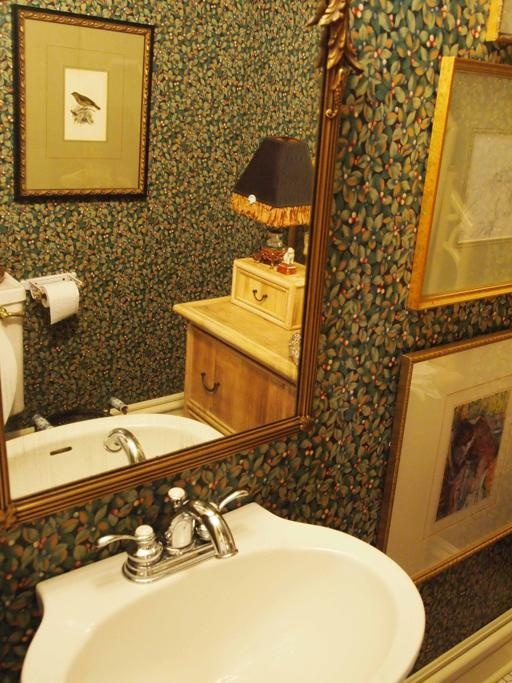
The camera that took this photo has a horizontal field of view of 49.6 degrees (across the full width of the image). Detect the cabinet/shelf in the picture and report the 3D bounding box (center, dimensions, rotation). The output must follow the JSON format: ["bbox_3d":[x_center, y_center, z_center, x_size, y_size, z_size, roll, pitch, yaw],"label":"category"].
[{"bbox_3d":[-0.020,0.084,1.019,0.131,0.245,0.243,-3,12,-31],"label":"cabinet/shelf"}]

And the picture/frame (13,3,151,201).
[{"bbox_3d":[-0.212,-0.289,0.653,0.019,0.233,0.208,28,30,36],"label":"picture/frame"}]
